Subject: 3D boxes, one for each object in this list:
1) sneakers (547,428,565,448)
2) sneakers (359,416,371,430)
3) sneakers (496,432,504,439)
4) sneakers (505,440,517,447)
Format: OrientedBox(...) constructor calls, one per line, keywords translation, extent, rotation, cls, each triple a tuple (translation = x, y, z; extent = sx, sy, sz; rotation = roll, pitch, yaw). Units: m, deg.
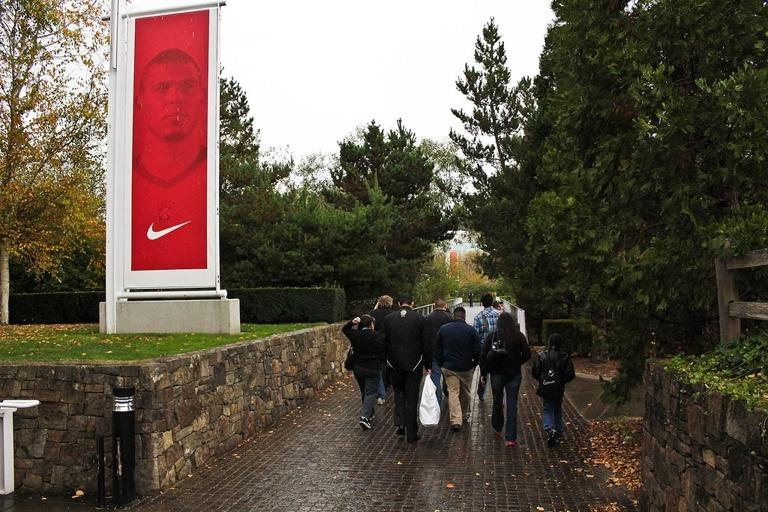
OrientedBox(translation=(3.250, 3.508, 12.911), extent=(0.184, 0.620, 0.262), rotation=(2, 47, 10), cls="sneakers")
OrientedBox(translation=(-0.379, 3.478, 13.871), extent=(0.129, 0.397, 0.175), rotation=(13, 49, 32), cls="sneakers")
OrientedBox(translation=(2.240, 3.500, 13.289), extent=(0.146, 0.056, 0.288), rotation=(0, 5, 9), cls="sneakers")
OrientedBox(translation=(2.393, 3.507, 12.765), extent=(0.221, 0.096, 0.218), rotation=(0, 5, 4), cls="sneakers")
